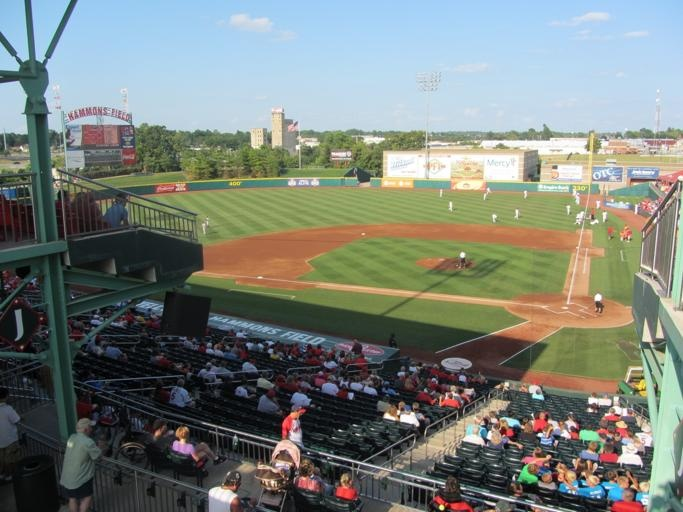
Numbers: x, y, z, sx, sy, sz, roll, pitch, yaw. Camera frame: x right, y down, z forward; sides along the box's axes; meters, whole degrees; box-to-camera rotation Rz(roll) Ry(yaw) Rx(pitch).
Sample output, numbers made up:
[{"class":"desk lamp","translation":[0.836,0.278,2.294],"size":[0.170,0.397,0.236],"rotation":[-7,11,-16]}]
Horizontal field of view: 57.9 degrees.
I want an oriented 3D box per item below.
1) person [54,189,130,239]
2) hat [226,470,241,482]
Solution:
[{"class":"person","translation":[-5.435,-0.876,13.445],"size":[1.409,0.674,1.291],"rotation":[-6,19,-29]},{"class":"hat","translation":[-1.746,3.481,9.877],"size":[0.232,0.128,0.338],"rotation":[-1,10,-13]}]
